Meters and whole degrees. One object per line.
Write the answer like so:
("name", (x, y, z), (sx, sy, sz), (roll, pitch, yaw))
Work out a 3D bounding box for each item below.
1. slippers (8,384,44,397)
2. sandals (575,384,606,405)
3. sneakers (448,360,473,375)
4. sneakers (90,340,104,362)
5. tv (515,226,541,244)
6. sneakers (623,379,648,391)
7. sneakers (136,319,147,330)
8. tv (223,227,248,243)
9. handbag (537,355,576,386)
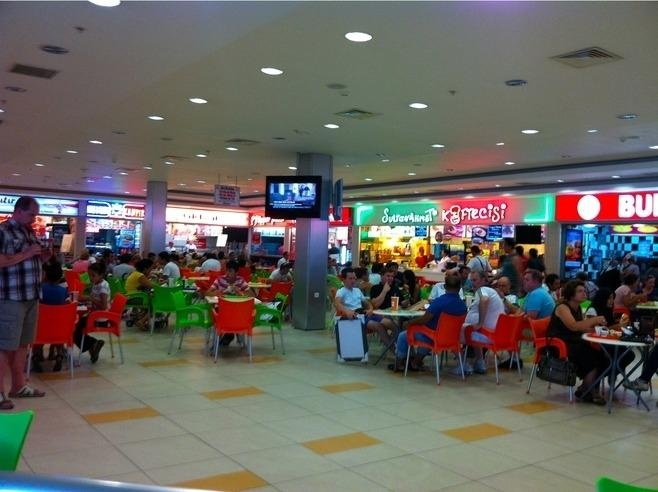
("slippers", (-3.362, 1.634, 5.205), (0.381, 0.150, 0.120), (1, 0, -17))
("sandals", (3.268, 1.899, 5.940), (0.163, 0.167, 0.463), (-4, 0, -29))
("sneakers", (1.954, 1.840, 7.003), (0.159, 0.173, 0.439), (2, -2, -26))
("sneakers", (-3.423, 1.550, 6.795), (0.157, 0.322, 0.117), (16, 3, 9))
("tv", (6.464, -0.368, 14.902), (0.665, 0.421, 0.090), (3, 6, 36))
("sneakers", (3.687, 1.665, 5.555), (0.226, 0.085, 0.123), (1, -7, 14))
("sneakers", (-3.874, 1.656, 9.676), (0.222, 0.188, 0.217), (0, -6, 26))
("tv", (-4.818, -0.570, 23.911), (1.560, 0.923, 0.747), (4, -29, -14))
("handbag", (2.864, 1.557, 5.744), (0.253, 0.302, 0.472), (5, 1, -30))
